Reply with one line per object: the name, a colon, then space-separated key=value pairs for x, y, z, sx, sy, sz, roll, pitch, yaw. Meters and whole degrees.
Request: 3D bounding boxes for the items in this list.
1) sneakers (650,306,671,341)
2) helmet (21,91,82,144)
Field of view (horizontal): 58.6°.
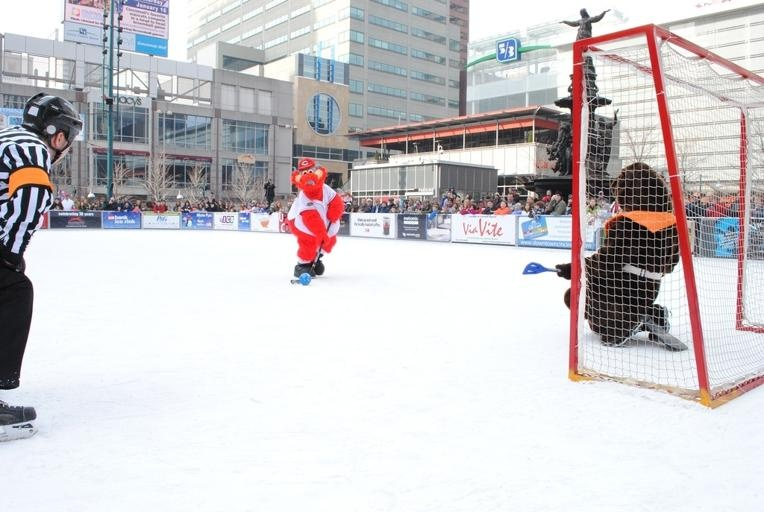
sneakers: x=3.162 y=0.724 z=7.690 sx=0.238 sy=0.310 sz=0.109 roll=-12 pitch=5 yaw=-41
helmet: x=-2.741 y=-1.193 z=5.858 sx=0.412 sy=0.470 sz=0.511 roll=20 pitch=18 yaw=21
